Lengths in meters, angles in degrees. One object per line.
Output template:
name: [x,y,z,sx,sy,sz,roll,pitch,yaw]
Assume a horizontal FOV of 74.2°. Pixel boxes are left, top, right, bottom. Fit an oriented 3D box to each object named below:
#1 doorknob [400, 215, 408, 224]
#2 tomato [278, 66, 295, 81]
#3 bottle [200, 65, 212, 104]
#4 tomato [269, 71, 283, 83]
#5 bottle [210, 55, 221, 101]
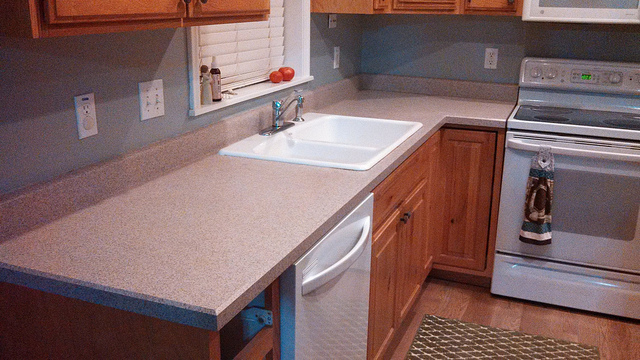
doorknob: [0.483,0.230,2.415,0.052,0.027,0.031,-2,14,1]
tomato: [-0.215,-0.694,2.778,0.096,0.083,0.088,5,22,22]
bottle: [-0.607,-0.506,2.264,0.058,0.190,0.090,0,20,-15]
tomato: [-0.284,-0.664,2.742,0.078,0.069,0.074,-3,9,-8]
bottle: [-0.569,-0.549,2.307,0.057,0.229,0.072,0,20,-14]
